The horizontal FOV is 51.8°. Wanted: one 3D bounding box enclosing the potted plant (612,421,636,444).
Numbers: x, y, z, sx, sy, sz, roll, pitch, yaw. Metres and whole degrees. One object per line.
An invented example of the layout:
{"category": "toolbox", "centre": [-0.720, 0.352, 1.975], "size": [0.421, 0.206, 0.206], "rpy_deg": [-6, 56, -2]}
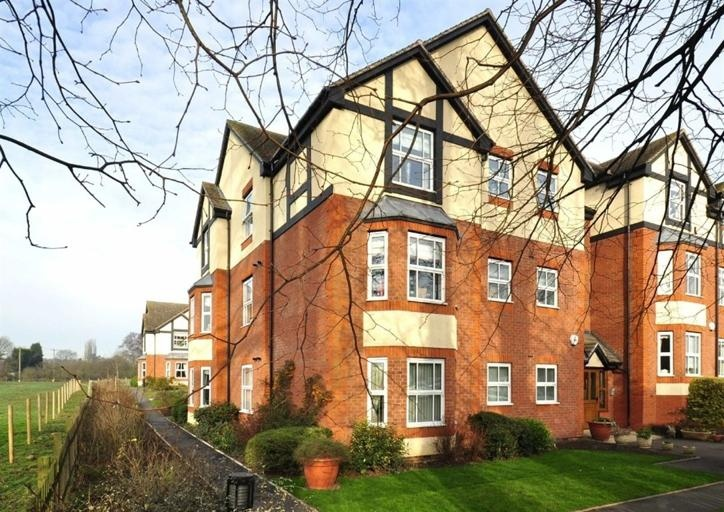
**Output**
{"category": "potted plant", "centre": [10.386, 6.990, 29.553], "size": [0.806, 0.614, 0.844], "rpy_deg": [0, -10, 12]}

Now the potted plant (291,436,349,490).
{"category": "potted plant", "centre": [-1.205, 6.356, 23.015], "size": [1.276, 1.390, 1.419], "rpy_deg": [1, -18, -3]}

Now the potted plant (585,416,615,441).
{"category": "potted plant", "centre": [9.472, 6.903, 29.937], "size": [0.767, 0.622, 0.814], "rpy_deg": [4, -13, -18]}

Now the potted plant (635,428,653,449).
{"category": "potted plant", "centre": [10.876, 6.967, 28.646], "size": [0.786, 0.774, 0.421], "rpy_deg": [3, 0, -23]}
